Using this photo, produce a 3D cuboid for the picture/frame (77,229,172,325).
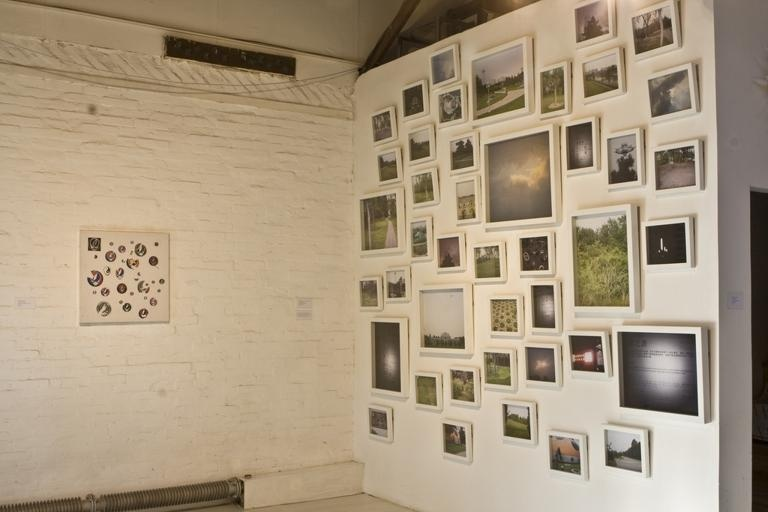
[{"bbox_3d":[-2.601,0.208,5.371,0.982,1.078,0.117,0,1,-25],"label":"picture/frame"}]
